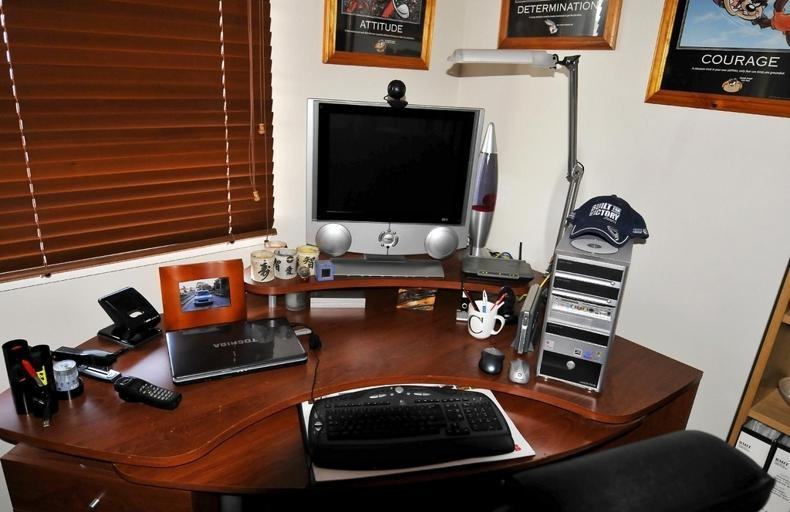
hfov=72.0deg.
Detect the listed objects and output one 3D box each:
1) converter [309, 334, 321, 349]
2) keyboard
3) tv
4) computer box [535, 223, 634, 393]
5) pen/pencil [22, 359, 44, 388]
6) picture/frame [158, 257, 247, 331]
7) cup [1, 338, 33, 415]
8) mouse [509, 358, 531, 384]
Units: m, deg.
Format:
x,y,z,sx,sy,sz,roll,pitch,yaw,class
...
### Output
x,y,z,sx,sy,sz,roll,pitch,yaw,class
-0.288,0.303,1.936,0.045,0.052,0.129,-1,-5,-8,converter
0.039,0.536,1.770,0.648,0.077,0.313,-1,29,-11,keyboard
-0.005,-0.329,2.144,0.816,0.651,0.118,-1,20,-13,tv
0.681,0.180,1.950,0.262,0.490,0.366,12,25,23,computer box
-1.082,0.349,1.618,0.015,0.099,0.017,-41,36,-18,pen/pencil
-0.693,0.132,1.963,0.320,0.248,0.156,-11,25,-36,picture/frame
-1.120,0.359,1.630,0.071,0.213,0.093,-13,27,-31,cup
0.424,0.386,1.840,0.053,0.031,0.091,2,16,10,mouse
